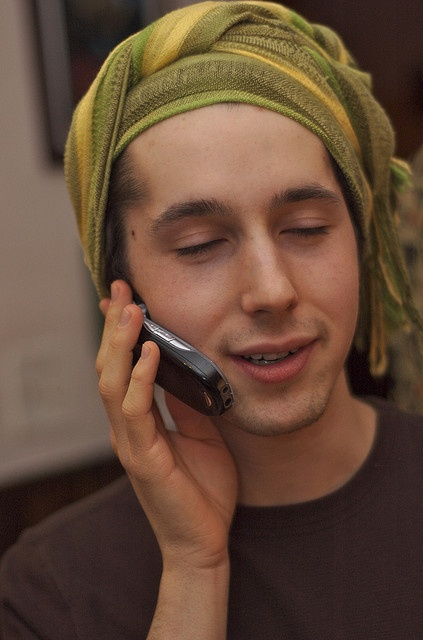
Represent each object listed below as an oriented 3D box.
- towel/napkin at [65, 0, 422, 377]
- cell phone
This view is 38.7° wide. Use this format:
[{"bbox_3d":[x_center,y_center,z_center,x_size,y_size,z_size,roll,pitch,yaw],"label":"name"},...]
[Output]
[{"bbox_3d":[0.068,-0.392,1.548,0.698,0.758,0.806,-7,23,-7],"label":"towel/napkin"},{"bbox_3d":[-0.053,0.063,1.201,0.272,0.137,0.066,29,63,33],"label":"cell phone"}]
